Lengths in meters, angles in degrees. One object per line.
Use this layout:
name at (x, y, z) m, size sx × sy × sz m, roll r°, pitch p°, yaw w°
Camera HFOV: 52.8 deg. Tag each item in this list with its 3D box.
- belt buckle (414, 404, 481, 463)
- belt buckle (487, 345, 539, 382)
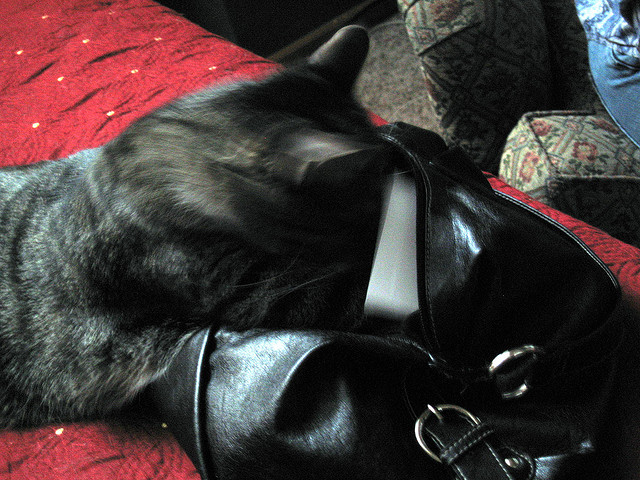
belt buckle at (0.127, 0.197, 0.668) m, size 0.053 × 0.031 × 0.065 m, roll 34°, pitch 69°, yaw 31°
belt buckle at (0.200, 0.124, 0.660) m, size 0.052 × 0.011 × 0.039 m, roll -22°, pitch 28°, yaw -25°
